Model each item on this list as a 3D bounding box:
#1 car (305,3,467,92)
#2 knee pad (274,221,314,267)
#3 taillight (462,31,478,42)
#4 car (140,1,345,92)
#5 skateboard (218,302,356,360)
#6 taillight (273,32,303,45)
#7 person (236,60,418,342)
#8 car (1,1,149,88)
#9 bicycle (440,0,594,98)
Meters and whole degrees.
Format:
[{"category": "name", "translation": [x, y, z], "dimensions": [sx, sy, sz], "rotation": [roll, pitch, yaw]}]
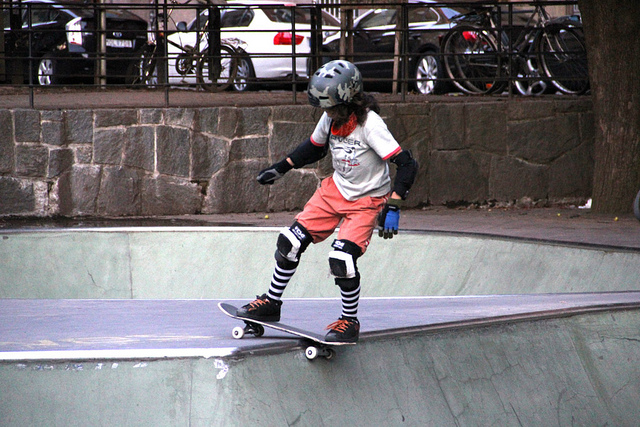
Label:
[{"category": "car", "translation": [0.863, -2.621, 14.486], "dimensions": [3.050, 1.263, 1.393], "rotation": [8, 10, 38]}, {"category": "knee pad", "translation": [-0.216, 0.269, 8.237], "dimensions": [0.351, 0.383, 0.179], "rotation": [-2, 13, -24]}, {"category": "taillight", "translation": [2.170, -2.591, 13.316], "dimensions": [0.124, 0.162, 0.134], "rotation": [19, -32, -7]}, {"category": "car", "translation": [-1.114, -2.682, 14.210], "dimensions": [3.465, 1.191, 1.595], "rotation": [7, 9, 44]}, {"category": "skateboard", "translation": [-0.323, 1.024, 7.911], "dimensions": [1.244, 0.264, 0.306], "rotation": [9, 13, 20]}, {"category": "taillight", "translation": [-0.525, -2.812, 14.743], "dimensions": [0.394, 0.190, 0.301], "rotation": [5, 6, 1]}, {"category": "person", "translation": [0.154, -0.125, 8.223], "dimensions": [1.353, 2.410, 1.072], "rotation": [5, 12, 5]}, {"category": "car", "translation": [-3.691, -2.726, 14.932], "dimensions": [3.543, 1.342, 1.689], "rotation": [10, 11, 36]}, {"category": "bicycle", "translation": [2.544, -2.299, 13.164], "dimensions": [2.365, 1.697, 1.227], "rotation": [5, 16, 32]}]
